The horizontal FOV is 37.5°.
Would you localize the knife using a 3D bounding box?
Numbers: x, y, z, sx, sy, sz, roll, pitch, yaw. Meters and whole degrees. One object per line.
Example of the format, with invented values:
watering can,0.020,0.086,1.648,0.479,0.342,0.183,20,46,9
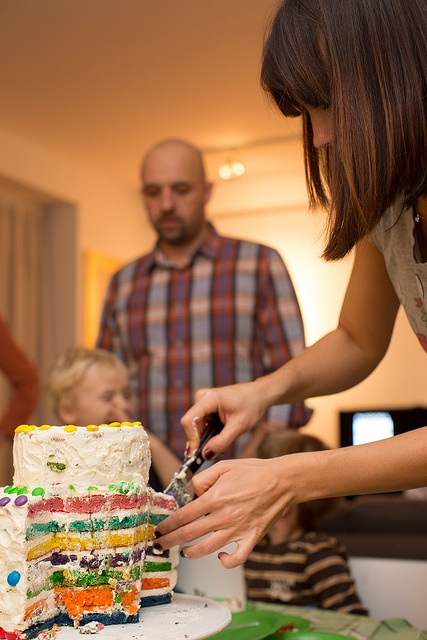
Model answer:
knife,-0.046,0.266,1.156,0.065,0.228,0.027,41,5,29
